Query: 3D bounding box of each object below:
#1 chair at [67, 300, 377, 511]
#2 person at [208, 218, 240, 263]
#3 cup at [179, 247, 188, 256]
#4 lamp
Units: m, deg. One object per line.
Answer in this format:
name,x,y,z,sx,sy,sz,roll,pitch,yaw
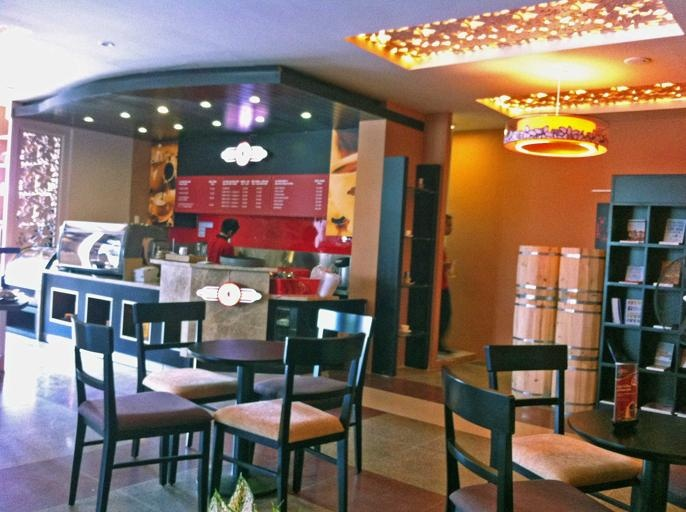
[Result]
chair,-0.825,0.992,4.034,1.907,1.221,1.304,3,2,0
person,-1.641,-0.232,7.667,0.325,0.555,0.979,3,2,-13
cup,-1.939,-0.068,6.965,0.113,0.094,0.187,5,5,-5
lamp,2.067,-1.216,5.631,0.953,0.475,0.655,3,2,2
